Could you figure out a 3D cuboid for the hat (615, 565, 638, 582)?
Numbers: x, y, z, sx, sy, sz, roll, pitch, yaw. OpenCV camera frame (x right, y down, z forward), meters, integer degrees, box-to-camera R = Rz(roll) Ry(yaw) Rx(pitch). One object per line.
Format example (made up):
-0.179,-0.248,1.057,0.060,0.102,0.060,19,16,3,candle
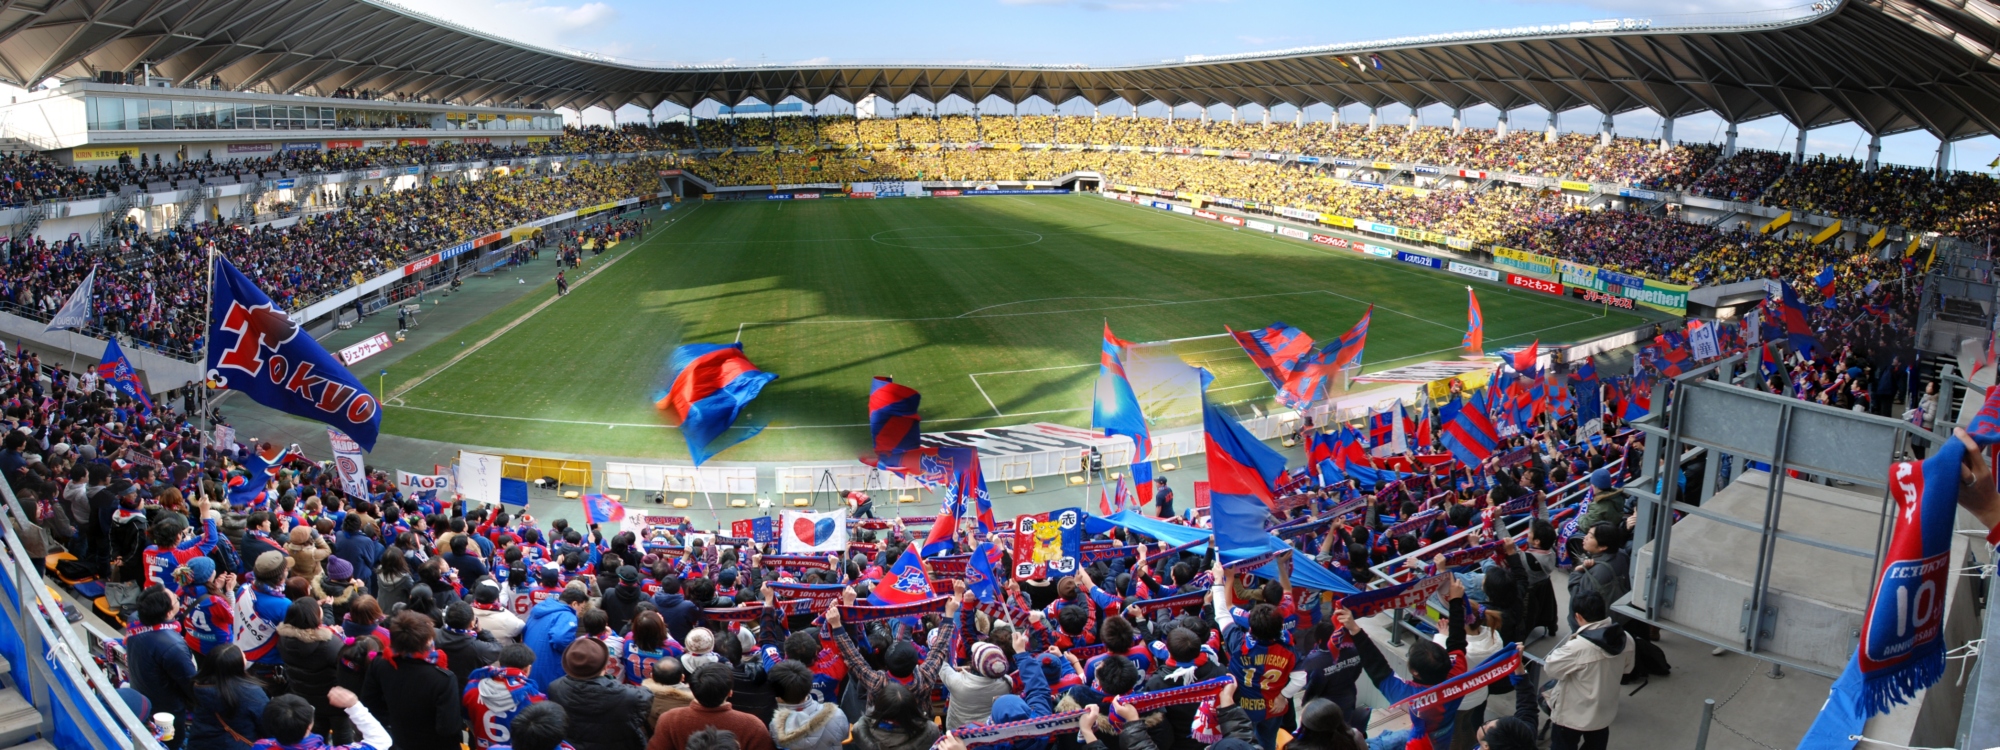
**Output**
-17.069,9.117,53.660,0.807,0.787,0.587,13,-28,-36,hat
